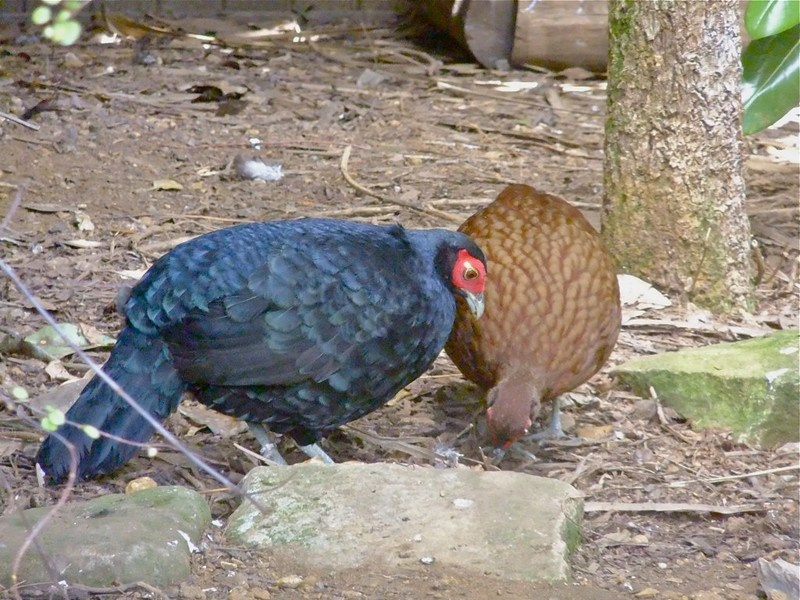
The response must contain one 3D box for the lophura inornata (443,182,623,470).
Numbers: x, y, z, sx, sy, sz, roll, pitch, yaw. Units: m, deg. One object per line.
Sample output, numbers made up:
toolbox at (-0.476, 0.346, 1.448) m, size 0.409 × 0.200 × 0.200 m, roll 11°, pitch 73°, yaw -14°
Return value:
lophura inornata at (0.694, 0.054, 4.704) m, size 0.971 × 1.179 × 0.986 m, roll 3°, pitch -1°, yaw 13°
